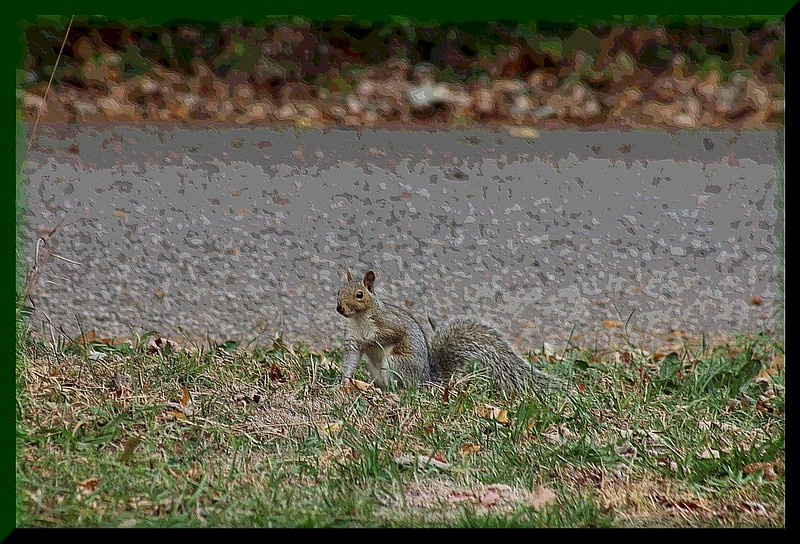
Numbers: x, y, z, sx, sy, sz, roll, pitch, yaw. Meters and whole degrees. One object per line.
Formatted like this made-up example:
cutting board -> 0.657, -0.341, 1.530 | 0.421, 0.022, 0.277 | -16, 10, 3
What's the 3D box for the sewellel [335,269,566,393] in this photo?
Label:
sewellel -> 0.215, 0.336, 5.102 | 1.103, 0.099, 0.620 | 2, 83, 0
